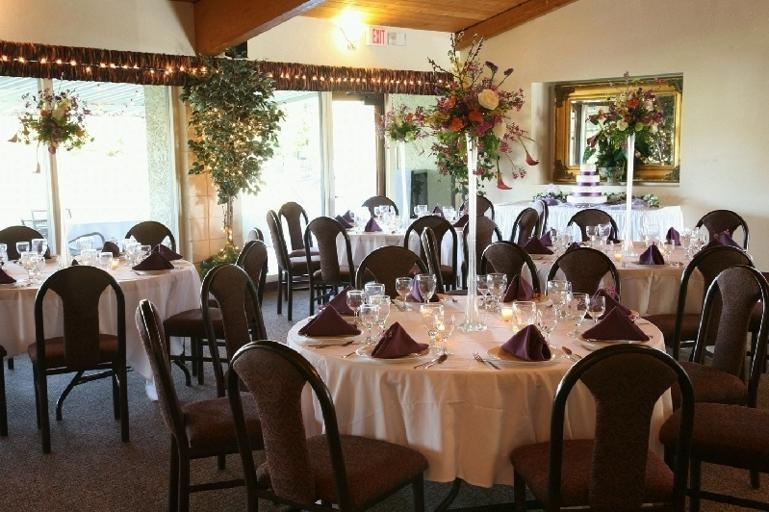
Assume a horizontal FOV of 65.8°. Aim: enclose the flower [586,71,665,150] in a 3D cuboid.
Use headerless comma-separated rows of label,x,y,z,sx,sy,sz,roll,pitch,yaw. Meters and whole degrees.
flower,2.180,-1.257,5.605,0.564,0.568,0.520,9,-3,-24
